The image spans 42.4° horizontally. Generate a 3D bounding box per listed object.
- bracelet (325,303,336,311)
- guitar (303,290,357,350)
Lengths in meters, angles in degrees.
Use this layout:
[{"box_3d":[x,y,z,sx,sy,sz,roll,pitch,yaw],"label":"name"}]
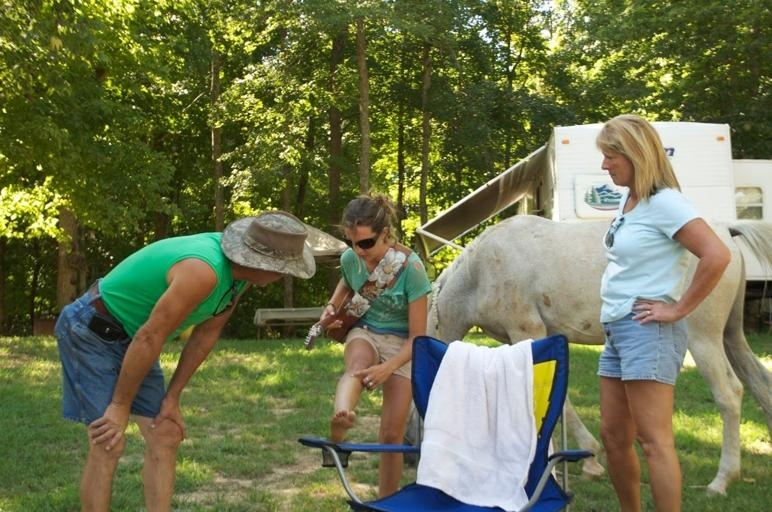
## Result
[{"box_3d":[-0.857,0.807,15.598,0.129,0.109,0.110,-3,0,-8],"label":"bracelet"},{"box_3d":[-0.887,1.199,15.557,1.059,0.543,0.264,-40,-40,7],"label":"guitar"}]
